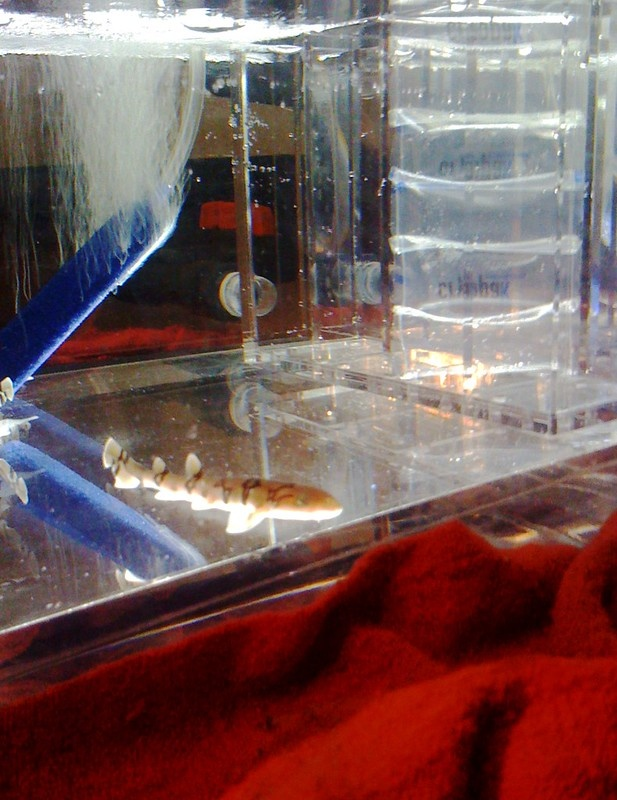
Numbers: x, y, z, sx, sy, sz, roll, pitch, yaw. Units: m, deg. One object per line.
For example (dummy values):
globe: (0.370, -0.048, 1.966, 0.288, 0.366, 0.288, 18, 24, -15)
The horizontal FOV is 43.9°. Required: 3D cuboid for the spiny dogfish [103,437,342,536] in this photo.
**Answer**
spiny dogfish: (-0.183, 0.108, 1.206, 0.509, 0.112, 0.122, 2, 5, 39)
